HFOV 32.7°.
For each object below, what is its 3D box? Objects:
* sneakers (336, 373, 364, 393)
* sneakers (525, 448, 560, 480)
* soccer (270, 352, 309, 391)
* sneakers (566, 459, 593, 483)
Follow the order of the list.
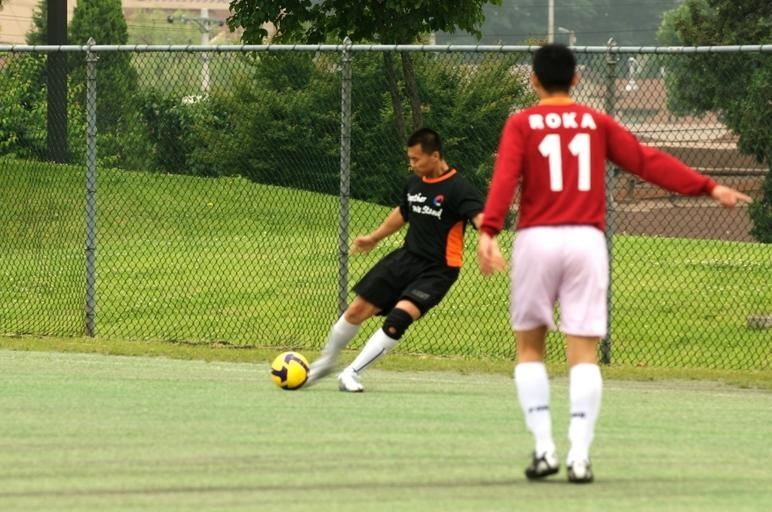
[{"bbox_3d":[-0.346,1.316,13.798,0.263,0.206,0.184,0,8,-3],"label":"sneakers"},{"bbox_3d":[1.414,1.867,11.849,0.314,0.286,0.205,-13,0,4],"label":"sneakers"},{"bbox_3d":[-0.988,1.208,13.863,0.422,0.391,0.413,2,6,-10],"label":"soccer"},{"bbox_3d":[1.728,1.904,11.643,0.171,0.105,0.233,-1,-22,11],"label":"sneakers"}]
